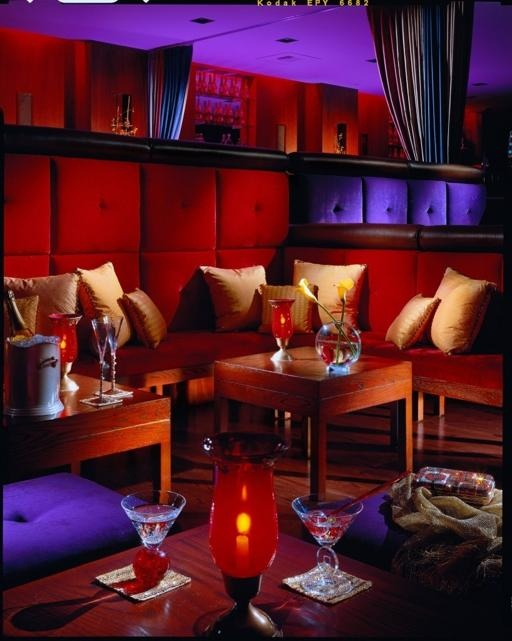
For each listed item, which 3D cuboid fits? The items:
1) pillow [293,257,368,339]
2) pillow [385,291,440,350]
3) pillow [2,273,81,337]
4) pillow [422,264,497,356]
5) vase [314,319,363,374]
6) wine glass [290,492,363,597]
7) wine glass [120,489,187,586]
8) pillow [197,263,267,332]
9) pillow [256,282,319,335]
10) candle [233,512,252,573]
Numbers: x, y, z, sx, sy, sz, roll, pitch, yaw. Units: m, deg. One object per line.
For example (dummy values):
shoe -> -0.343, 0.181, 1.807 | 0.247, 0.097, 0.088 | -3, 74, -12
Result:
pillow -> 0.472, -0.129, 3.403 | 0.521, 0.476, 0.195 | 6, -8, 23
pillow -> 0.885, 0.011, 3.143 | 0.096, 0.280, 0.299 | 25, -5, -2
pillow -> -0.959, -0.073, 2.423 | 0.302, 0.248, 0.144 | -7, 13, -7
pillow -> 1.058, -0.050, 2.957 | 0.133, 0.386, 0.421 | 20, 7, -19
vase -> 0.359, 0.113, 2.404 | 0.218, 0.237, 0.213 | -1, 2, -2
wine glass -> 0.110, 0.356, 0.904 | 0.122, 0.127, 0.118 | -2, 4, -44
wine glass -> -0.164, 0.355, 0.914 | 0.110, 0.128, 0.108 | 1, 1, 39
pillow -> -0.174, -0.140, 3.639 | 0.459, 0.347, 0.195 | -4, 10, -33
pillow -> 0.180, -0.070, 3.263 | 0.355, 0.313, 0.119 | 1, -16, 1
candle -> -0.017, 0.267, 0.659 | 0.018, 0.068, 0.012 | 2, -9, -1
